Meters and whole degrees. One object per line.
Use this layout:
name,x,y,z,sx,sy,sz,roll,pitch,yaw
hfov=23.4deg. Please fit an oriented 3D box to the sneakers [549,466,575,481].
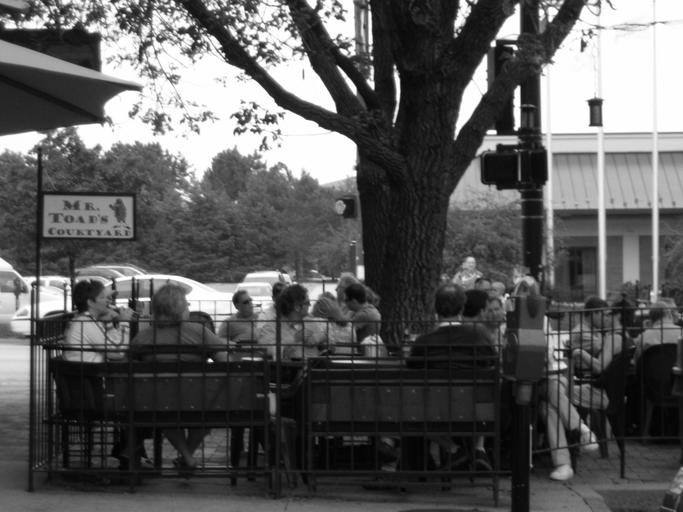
sneakers,2.779,2.865,21.598,0.147,0.123,0.290,-6,-8,42

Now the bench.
bench,-0.459,1.905,21.328,6.404,2.150,2.150,-1,-5,11

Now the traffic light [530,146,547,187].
traffic light,2.803,-1.267,24.066,0.206,0.548,0.289,-1,-5,11

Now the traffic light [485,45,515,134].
traffic light,2.267,-2.453,24.261,0.382,1.249,1.110,-1,-5,6

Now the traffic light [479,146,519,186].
traffic light,2.232,-1.292,24.085,0.553,0.635,0.348,-1,-5,5

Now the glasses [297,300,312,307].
glasses,-0.520,0.665,22.214,0.152,0.046,0.158,0,-5,-15

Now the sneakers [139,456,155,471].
sneakers,-2.549,2.763,21.842,0.166,0.077,0.240,-1,6,-17

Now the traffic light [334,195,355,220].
traffic light,0.061,-0.825,29.154,0.385,0.375,0.516,3,3,1

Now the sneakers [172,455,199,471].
sneakers,-1.989,2.685,21.095,0.382,0.147,0.129,-2,-4,44

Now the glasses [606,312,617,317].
glasses,3.669,0.844,23.077,0.136,0.039,0.148,-2,-1,25
